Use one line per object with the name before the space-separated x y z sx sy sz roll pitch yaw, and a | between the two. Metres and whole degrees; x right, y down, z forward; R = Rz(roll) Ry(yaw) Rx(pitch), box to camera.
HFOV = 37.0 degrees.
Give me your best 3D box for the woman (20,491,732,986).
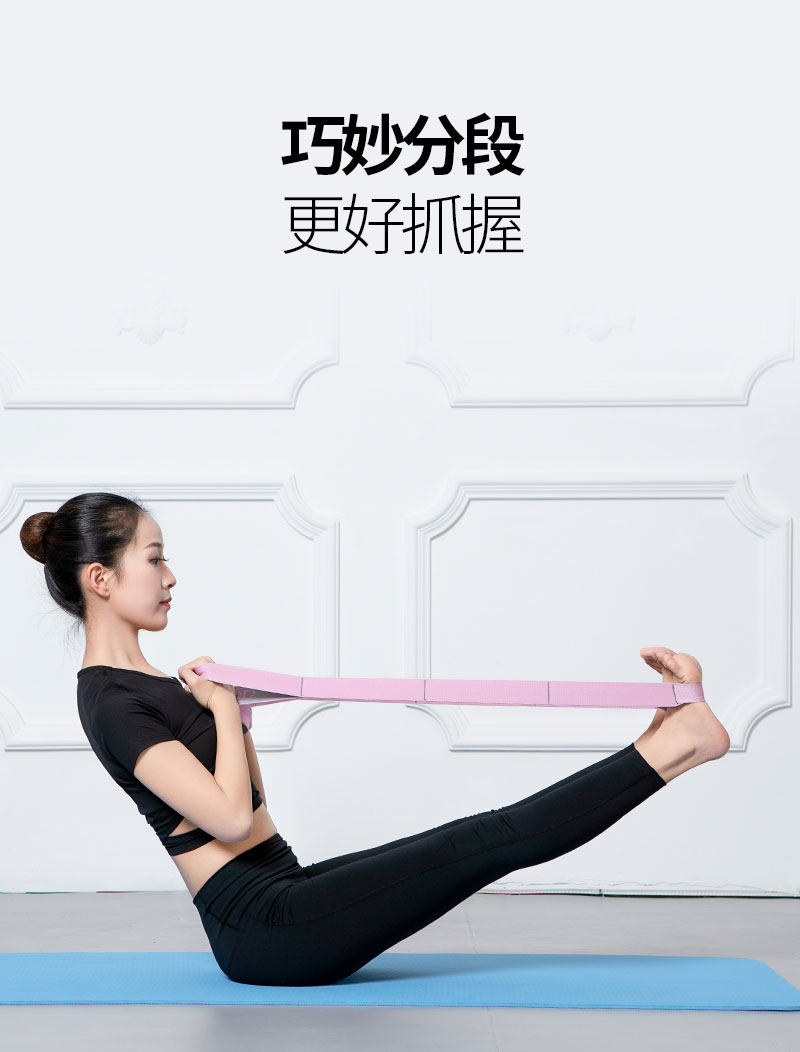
woman | -0.036 0.362 2.101 1.300 0.720 0.476 3 -1 -23
